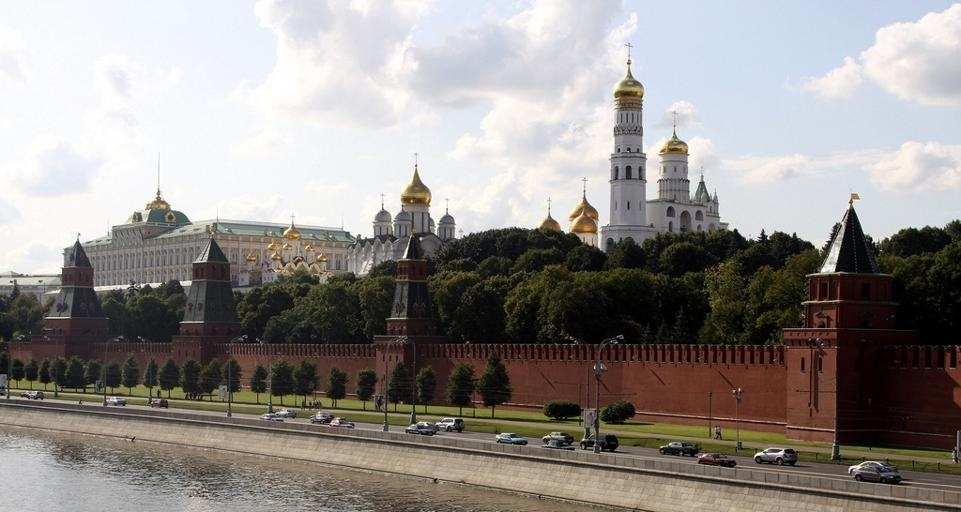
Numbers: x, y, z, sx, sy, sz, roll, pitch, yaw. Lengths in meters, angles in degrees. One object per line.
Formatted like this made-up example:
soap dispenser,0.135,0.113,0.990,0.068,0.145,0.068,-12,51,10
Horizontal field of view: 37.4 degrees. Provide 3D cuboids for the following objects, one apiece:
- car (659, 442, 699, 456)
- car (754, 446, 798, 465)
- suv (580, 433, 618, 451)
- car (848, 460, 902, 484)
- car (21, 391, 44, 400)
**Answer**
car,14.140,13.717,101.086,2.320,0.652,1.055,3,-3,20
car,20.681,13.884,98.653,2.289,0.762,1.323,3,0,24
suv,8.711,13.458,102.890,2.509,1.251,2.258,-2,-7,17
car,26.187,14.310,94.021,3.228,0.879,1.387,-3,-2,27
car,-42.034,13.018,132.882,2.399,0.652,1.136,5,1,36
